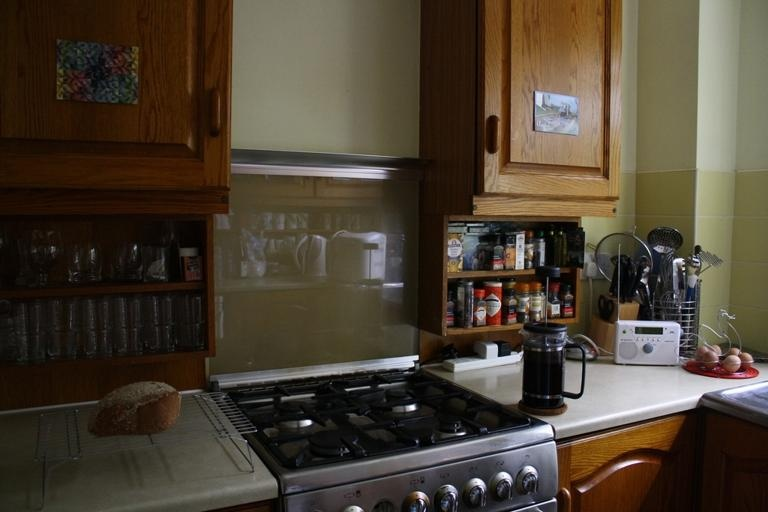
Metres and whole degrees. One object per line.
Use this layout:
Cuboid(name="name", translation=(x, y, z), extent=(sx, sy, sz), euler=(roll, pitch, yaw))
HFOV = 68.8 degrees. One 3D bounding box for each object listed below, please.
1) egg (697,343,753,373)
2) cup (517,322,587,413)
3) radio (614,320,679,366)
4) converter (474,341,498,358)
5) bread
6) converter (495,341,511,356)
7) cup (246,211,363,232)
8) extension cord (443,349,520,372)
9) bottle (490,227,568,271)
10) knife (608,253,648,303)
Cuboid(name="egg", translation=(1.579, 0.463, 2.588), extent=(0.300, 0.103, 0.198), euler=(-3, 3, -41))
Cuboid(name="cup", translation=(0.650, 0.444, 2.185), extent=(0.316, 0.370, 0.227), euler=(2, 3, 33))
Cuboid(name="radio", translation=(1.233, 0.394, 2.668), extent=(0.294, 0.223, 0.175), euler=(-1, 9, 8))
Cuboid(name="converter", translation=(0.476, 0.429, 2.585), extent=(0.062, 0.081, 0.113), euler=(-2, 6, -21))
Cuboid(name="bread", translation=(-0.800, 0.490, 1.825), extent=(0.200, 0.100, 0.159), euler=(1, 0, -18))
Cuboid(name="converter", translation=(0.561, 0.427, 2.630), extent=(0.061, 0.060, 0.060), euler=(-1, 3, -28))
Cuboid(name="cup", translation=(-0.347, -0.146, 2.364), extent=(0.453, 0.083, 0.051), euler=(-2, 2, -14))
Cuboid(name="extension cord", translation=(0.460, 0.481, 2.566), extent=(0.246, 0.041, 0.118), euler=(-2, 4, -26))
Cuboid(name="bottle", translation=(0.674, -0.029, 2.635), extent=(0.206, 0.208, 0.073), euler=(1, 0, -26))
Cuboid(name="knife", translation=(1.222, 0.108, 2.795), extent=(0.195, 0.246, 0.060), euler=(12, 9, 40))
